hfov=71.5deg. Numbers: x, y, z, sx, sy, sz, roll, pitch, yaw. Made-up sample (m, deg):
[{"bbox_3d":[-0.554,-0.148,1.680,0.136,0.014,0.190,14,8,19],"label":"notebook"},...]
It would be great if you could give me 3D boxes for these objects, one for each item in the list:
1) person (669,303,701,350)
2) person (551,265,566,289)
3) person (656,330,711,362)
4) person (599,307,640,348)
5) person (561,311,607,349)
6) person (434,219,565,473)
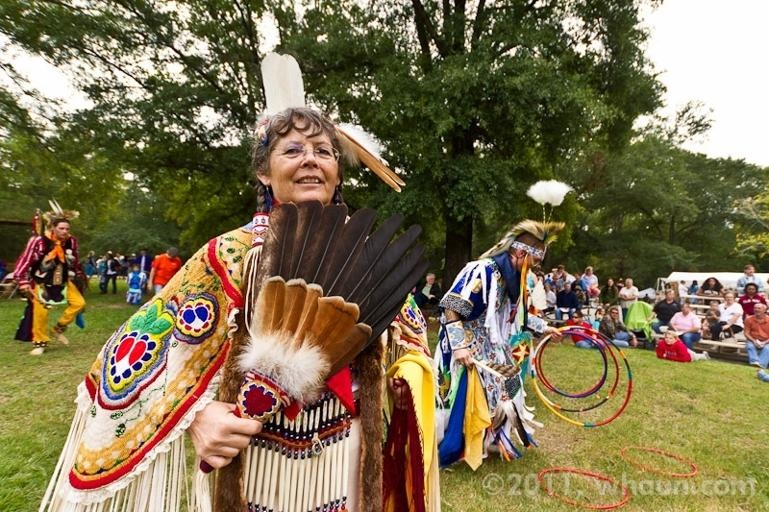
[{"bbox_3d":[7.337,1.742,12.973,0.681,1.180,0.632,39,-35,-29],"label":"person"},{"bbox_3d":[5.576,0.670,16.925,0.401,0.726,1.034,4,21,21],"label":"person"},{"bbox_3d":[6.905,2.080,12.365,1.141,0.695,0.631,5,-5,-9],"label":"person"},{"bbox_3d":[5.974,1.789,13.561,0.626,1.012,0.994,-9,9,-39],"label":"person"},{"bbox_3d":[4.100,1.532,10.953,0.481,0.637,0.764,12,-24,29],"label":"person"},{"bbox_3d":[1.499,1.179,7.399,1.554,3.430,0.916,4,-5,-2],"label":"person"}]
